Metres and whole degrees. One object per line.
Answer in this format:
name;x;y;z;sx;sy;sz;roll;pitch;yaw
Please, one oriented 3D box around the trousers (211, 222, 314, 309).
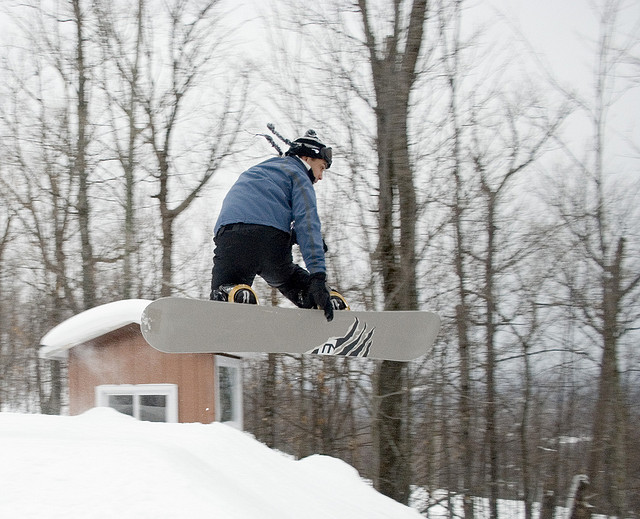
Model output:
trousers;-0.913;0.063;18.333;2.034;0.861;2.421;3;-19;-2
